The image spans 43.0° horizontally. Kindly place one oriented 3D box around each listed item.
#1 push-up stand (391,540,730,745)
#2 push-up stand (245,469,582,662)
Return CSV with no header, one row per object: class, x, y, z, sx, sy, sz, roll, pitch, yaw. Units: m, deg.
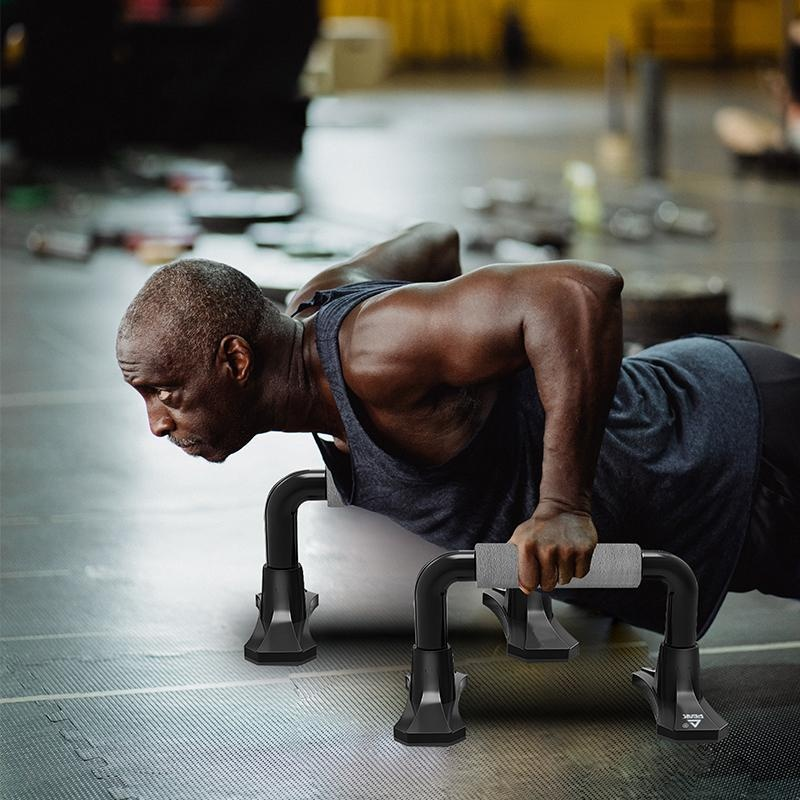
push-up stand,0.179,0.277,1.266,0.343,0.116,0.342,0,0,1
push-up stand,0.012,0.222,1.518,0.453,0.187,0.337,1,5,-3
